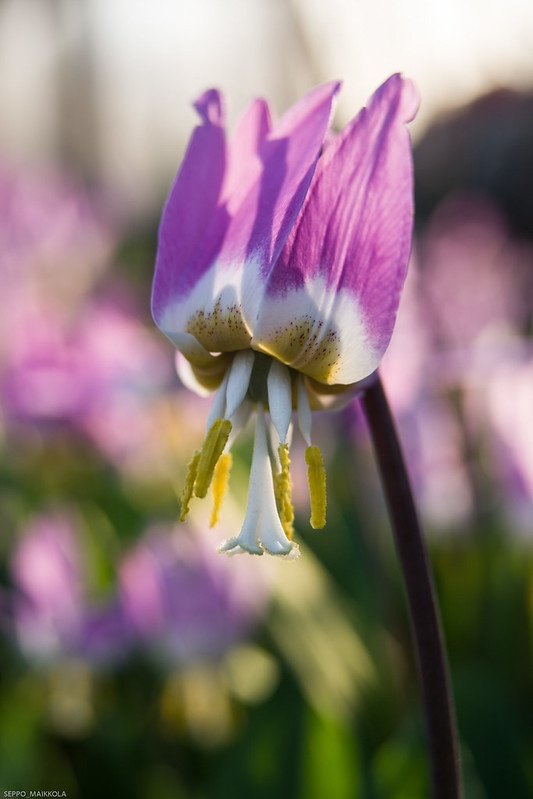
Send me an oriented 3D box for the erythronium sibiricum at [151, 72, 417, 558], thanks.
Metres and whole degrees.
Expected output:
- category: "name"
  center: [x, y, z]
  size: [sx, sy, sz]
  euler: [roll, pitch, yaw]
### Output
- category: "erythronium sibiricum"
  center: [0.005, -0.090, 0.696]
  size: [0.221, 0.179, 0.405]
  euler: [5, 78, 28]
